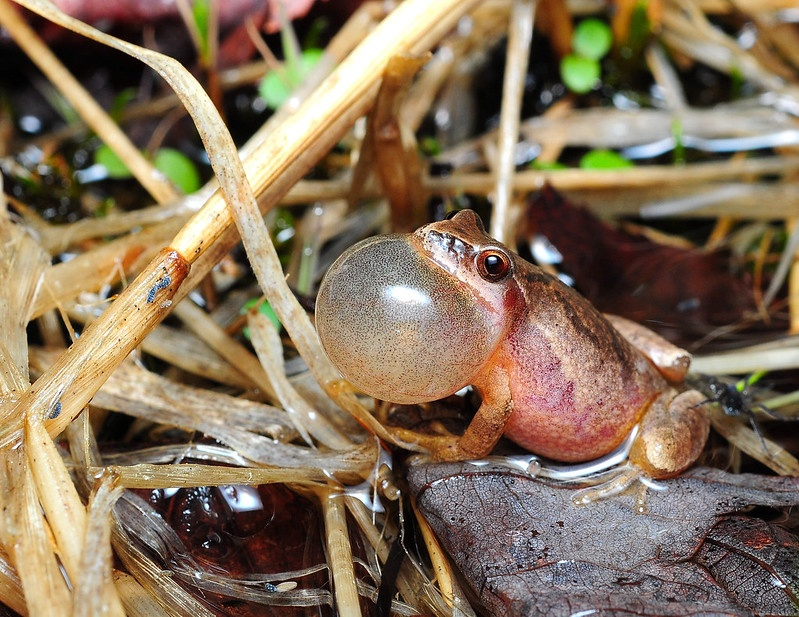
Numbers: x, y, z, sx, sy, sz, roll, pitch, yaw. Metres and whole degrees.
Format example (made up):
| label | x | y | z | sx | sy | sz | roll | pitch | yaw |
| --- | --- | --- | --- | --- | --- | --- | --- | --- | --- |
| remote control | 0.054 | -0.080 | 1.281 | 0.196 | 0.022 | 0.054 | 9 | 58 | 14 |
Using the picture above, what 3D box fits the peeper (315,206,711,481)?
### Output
| label | x | y | z | sx | sy | sz | roll | pitch | yaw |
| --- | --- | --- | --- | --- | --- | --- | --- | --- | --- |
| peeper | 0.182 | 0.107 | 1.261 | 0.618 | 0.284 | 0.361 | 33 | 78 | 13 |
